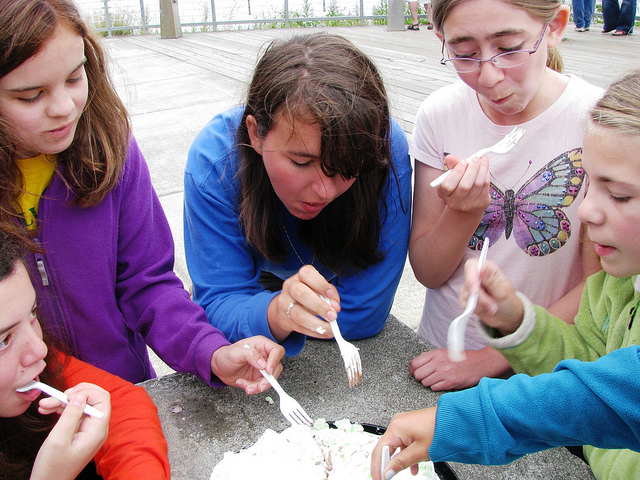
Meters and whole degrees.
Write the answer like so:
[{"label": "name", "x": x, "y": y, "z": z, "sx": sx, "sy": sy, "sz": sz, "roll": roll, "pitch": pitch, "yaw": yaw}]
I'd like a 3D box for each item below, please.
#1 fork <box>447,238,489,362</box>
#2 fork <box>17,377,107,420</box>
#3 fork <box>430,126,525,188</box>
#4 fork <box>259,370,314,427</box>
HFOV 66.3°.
[{"label": "fork", "x": 0.493, "y": 0.181, "z": 1.629, "sx": 0.051, "sy": 0.077, "sz": 0.523, "roll": -19, "pitch": 42, "yaw": 48}, {"label": "fork", "x": -0.678, "y": 0.445, "z": 1.318, "sx": 0.243, "sy": 0.035, "sz": 0.088, "roll": 30, "pitch": 16, "yaw": -8}, {"label": "fork", "x": 0.620, "y": -0.316, "z": 1.871, "sx": 0.366, "sy": 0.055, "sz": 0.057, "roll": -40, "pitch": 39, "yaw": -1}, {"label": "fork", "x": -0.112, "y": 0.519, "z": 1.576, "sx": 0.029, "sy": 0.024, "sz": 0.217, "roll": -25, "pitch": 52, "yaw": -22}]
